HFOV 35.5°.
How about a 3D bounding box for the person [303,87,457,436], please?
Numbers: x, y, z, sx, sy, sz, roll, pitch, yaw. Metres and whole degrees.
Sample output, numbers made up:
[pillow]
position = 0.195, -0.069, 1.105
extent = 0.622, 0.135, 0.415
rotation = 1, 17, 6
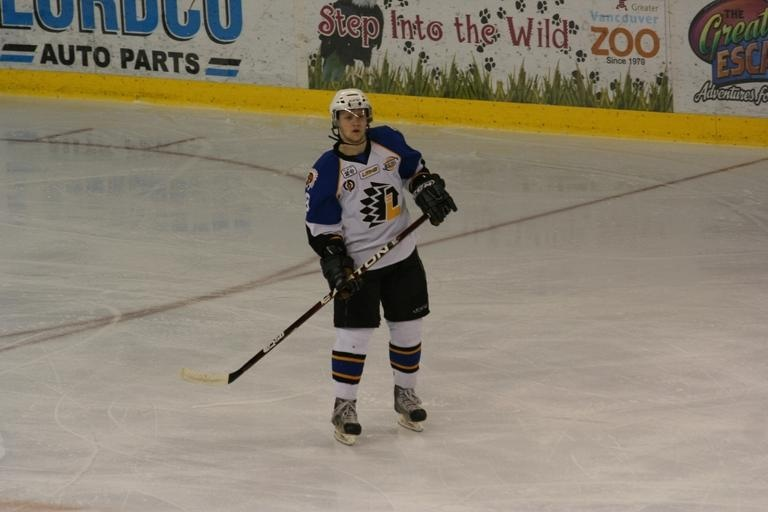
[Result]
[person]
position = -0.056, 0.069, 7.784
extent = 0.926, 2.254, 0.663
rotation = 3, 13, -4

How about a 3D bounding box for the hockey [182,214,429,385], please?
[hockey]
position = -0.529, 0.362, 8.386
extent = 2.242, 0.346, 0.136
rotation = -34, -38, 30

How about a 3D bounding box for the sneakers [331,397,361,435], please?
[sneakers]
position = -0.235, 1.049, 7.788
extent = 0.199, 0.232, 0.236
rotation = 3, 11, -4

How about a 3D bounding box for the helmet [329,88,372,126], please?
[helmet]
position = -0.218, -0.944, 7.817
extent = 0.305, 0.305, 0.353
rotation = -7, 9, -16

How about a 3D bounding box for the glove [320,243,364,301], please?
[glove]
position = -0.275, 0.106, 7.655
extent = 0.248, 0.353, 0.156
rotation = -27, -4, -6
